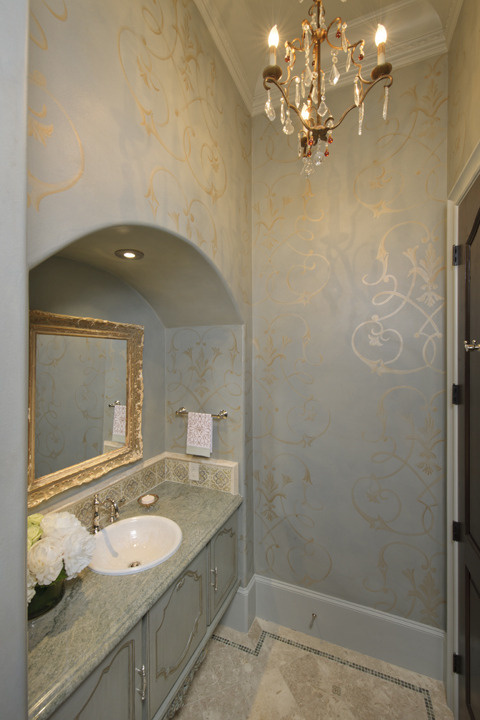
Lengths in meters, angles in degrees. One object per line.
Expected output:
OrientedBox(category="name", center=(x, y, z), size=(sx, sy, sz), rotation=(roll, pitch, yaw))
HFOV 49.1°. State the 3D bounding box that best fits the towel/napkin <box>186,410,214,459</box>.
OrientedBox(category="towel/napkin", center=(-0.190, 0.366, 2.569), size=(0.176, 0.311, 0.028), rotation=(2, 2, 32))
